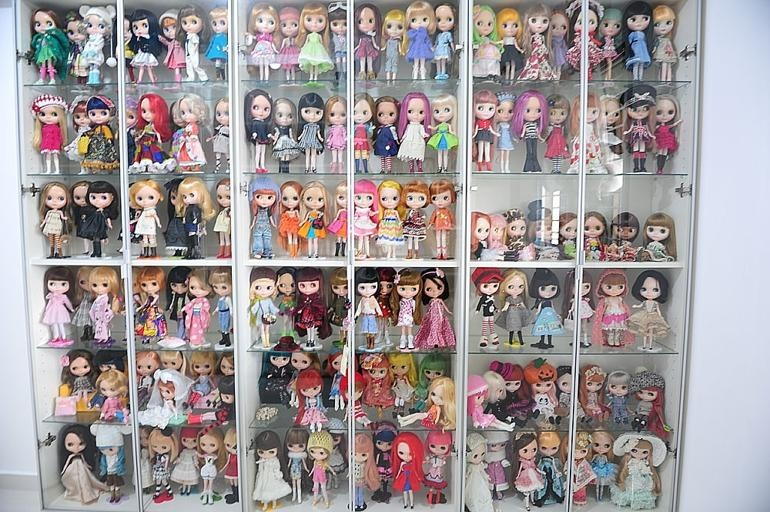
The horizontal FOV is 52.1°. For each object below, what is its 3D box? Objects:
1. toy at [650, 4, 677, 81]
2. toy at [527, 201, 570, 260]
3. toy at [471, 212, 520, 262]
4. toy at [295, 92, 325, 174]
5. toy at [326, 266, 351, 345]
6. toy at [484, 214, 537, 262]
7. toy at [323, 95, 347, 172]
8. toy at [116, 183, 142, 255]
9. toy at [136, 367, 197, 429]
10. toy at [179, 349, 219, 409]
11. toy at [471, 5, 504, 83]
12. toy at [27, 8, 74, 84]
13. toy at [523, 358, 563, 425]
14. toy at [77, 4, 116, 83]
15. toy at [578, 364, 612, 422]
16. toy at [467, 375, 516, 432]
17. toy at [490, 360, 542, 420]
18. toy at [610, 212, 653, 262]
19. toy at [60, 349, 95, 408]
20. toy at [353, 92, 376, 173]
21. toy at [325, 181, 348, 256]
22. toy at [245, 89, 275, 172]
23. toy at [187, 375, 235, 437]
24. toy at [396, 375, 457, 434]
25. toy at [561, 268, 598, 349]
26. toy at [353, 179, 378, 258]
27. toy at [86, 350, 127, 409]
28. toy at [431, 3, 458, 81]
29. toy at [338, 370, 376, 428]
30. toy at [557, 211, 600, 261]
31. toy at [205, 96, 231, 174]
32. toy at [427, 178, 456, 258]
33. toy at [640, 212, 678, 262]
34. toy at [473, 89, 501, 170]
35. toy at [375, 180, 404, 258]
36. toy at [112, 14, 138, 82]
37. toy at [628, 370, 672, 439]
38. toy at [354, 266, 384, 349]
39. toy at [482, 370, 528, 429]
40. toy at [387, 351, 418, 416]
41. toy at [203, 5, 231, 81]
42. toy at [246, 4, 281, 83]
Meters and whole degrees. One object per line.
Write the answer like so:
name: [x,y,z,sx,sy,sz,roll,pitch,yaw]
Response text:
toy: [2.229,-1.671,6.257,0.183,0.608,0.092,-1,5,9]
toy: [1.290,-0.128,6.400,0.362,0.522,0.294,0,-29,0]
toy: [0.874,-0.154,6.342,0.368,0.391,0.120,-1,5,-1]
toy: [-0.583,-0.974,6.309,0.214,0.642,0.061,-1,5,6]
toy: [-0.362,0.414,6.340,0.194,0.623,0.085,2,6,41]
toy: [1.015,-0.147,6.377,0.397,0.399,0.247,-5,10,-31]
toy: [-0.390,-0.965,6.292,0.171,0.606,0.067,-2,5,-4]
toy: [-2.022,-0.332,6.310,0.165,0.503,0.064,-4,5,-25]
toy: [-1.753,1.156,6.347,0.296,0.337,0.352,13,15,36]
toy: [-1.493,1.051,6.453,0.239,0.525,0.289,8,7,4]
toy: [0.811,-1.690,6.249,0.246,0.591,0.121,-1,5,3]
toy: [-2.698,-1.676,6.345,0.318,0.585,0.101,-3,5,-16]
toy: [1.291,1.141,6.525,0.280,0.510,0.215,-1,-9,1]
toy: [-2.302,-1.682,6.329,0.309,0.641,0.111,-2,5,-12]
toy: [1.711,1.128,6.466,0.248,0.415,0.247,1,3,8]
toy: [0.842,1.201,6.364,0.403,0.397,0.196,-2,6,34]
toy: [1.064,1.112,6.480,0.402,0.442,0.297,12,15,41]
toy: [1.976,-0.147,6.332,0.355,0.575,0.231,1,-7,-1]
toy: [-2.511,1.003,6.504,0.269,0.477,0.175,-4,12,-21]
toy: [-0.170,-0.970,6.291,0.182,0.640,0.062,-4,5,-30]
toy: [-0.400,-0.285,6.342,0.129,0.598,0.240,-4,5,-30]
toy: [-1.003,-0.995,6.315,0.228,0.659,0.069,-2,5,-4]
toy: [-1.354,1.212,6.370,0.467,0.481,0.298,4,3,-15]
toy: [0.354,1.197,6.353,0.493,0.403,0.280,3,16,-24]
toy: [1.579,0.439,6.345,0.263,0.634,0.113,-3,5,-22]
toy: [-0.154,-0.280,6.290,0.203,0.630,0.118,-5,6,-41]
toy: [-2.260,0.981,6.430,0.298,0.506,0.468,0,-1,2]
toy: [0.475,-1.684,6.245,0.185,0.592,0.106,-1,5,9]
toy: [-0.236,1.165,6.321,0.254,0.449,0.065,-2,5,-7]
toy: [1.532,-0.159,6.298,0.387,0.431,0.220,0,0,-6]
toy: [-1.332,-0.963,6.302,0.175,0.601,0.080,-1,5,2]
toy: [0.459,-0.284,6.356,0.209,0.612,0.192,1,1,8]
toy: [2.213,-0.139,6.373,0.270,0.414,0.231,3,9,17]
toy: [0.803,-0.995,6.299,0.207,0.639,0.079,-3,5,-24]
toy: [0.043,-0.287,6.316,0.213,0.621,0.090,-1,5,-1]
toy: [-2.094,-1.645,6.296,0.182,0.551,0.097,-3,5,-17]
toy: [2.161,1.269,6.436,0.336,0.618,0.224,9,17,23]
toy: [-0.123,0.434,6.305,0.225,0.667,0.088,-2,5,-3]
toy: [0.995,1.154,6.450,0.246,0.424,0.420,-7,11,-38]
toy: [0.137,1.036,6.390,0.285,0.527,0.239,1,-9,15]
toy: [-1.333,-1.685,6.256,0.201,0.578,0.051,0,5,15]
toy: [-0.973,-1.689,6.282,0.254,0.622,0.084,-2,5,-10]
